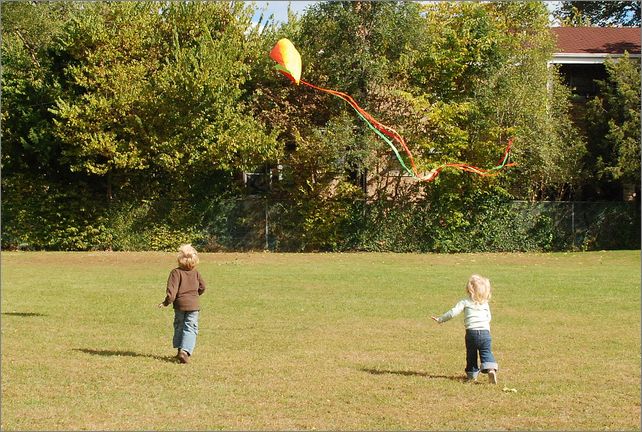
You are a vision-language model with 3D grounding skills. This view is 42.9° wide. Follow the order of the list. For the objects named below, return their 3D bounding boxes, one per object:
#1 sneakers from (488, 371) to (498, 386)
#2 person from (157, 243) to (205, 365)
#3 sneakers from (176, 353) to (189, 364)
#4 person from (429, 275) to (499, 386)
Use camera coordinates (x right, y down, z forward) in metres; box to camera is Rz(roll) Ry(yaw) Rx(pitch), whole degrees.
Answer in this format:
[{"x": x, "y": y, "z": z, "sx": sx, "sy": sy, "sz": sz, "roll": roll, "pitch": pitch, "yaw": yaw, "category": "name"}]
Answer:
[{"x": 4.514, "y": 4.168, "z": 21.340, "sx": 0.158, "sy": 0.418, "sz": 0.179, "roll": -4, "pitch": 8, "yaw": 2, "category": "sneakers"}, {"x": -3.728, "y": 2.354, "z": 22.228, "sx": 1.023, "sy": 3.132, "sz": 0.826, "roll": 0, "pitch": 6, "yaw": -7, "category": "person"}, {"x": -3.757, "y": 3.801, "z": 22.029, "sx": 0.175, "sy": 0.165, "sz": 0.376, "roll": 4, "pitch": -28, "yaw": 4, "category": "sneakers"}, {"x": 4.083, "y": 2.934, "z": 21.646, "sx": 1.318, "sy": 2.753, "sz": 0.772, "roll": 2, "pitch": 6, "yaw": 14, "category": "person"}]
